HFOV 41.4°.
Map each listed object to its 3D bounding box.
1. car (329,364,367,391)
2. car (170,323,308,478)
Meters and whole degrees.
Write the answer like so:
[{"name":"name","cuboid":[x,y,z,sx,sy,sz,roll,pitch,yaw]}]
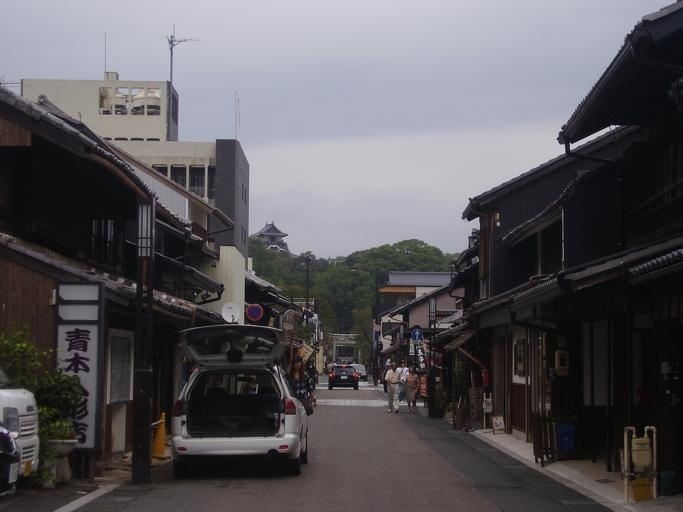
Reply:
[{"name":"car","cuboid":[0.185,7.813,58.696,1.946,1.936,1.743,-4,-16,12]},{"name":"car","cuboid":[-1.890,2.606,16.541,2.336,2.672,2.080,3,-16,-12]}]
